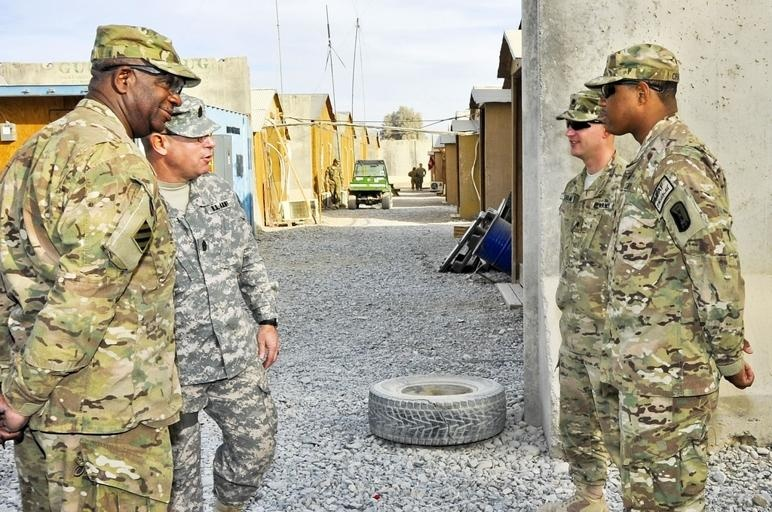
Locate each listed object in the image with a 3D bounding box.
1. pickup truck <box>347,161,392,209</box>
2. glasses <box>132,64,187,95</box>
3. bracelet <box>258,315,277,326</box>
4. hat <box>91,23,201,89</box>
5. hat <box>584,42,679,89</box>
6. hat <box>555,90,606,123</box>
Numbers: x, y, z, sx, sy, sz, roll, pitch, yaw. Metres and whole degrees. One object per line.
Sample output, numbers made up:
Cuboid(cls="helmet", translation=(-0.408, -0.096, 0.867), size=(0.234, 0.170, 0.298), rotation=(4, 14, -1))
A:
Cuboid(cls="pickup truck", translation=(-0.596, -2.458, 28.244), size=(1.475, 1.671, 1.889), rotation=(-2, 9, -3))
Cuboid(cls="glasses", translation=(-0.955, -0.719, 3.358), size=(0.154, 0.042, 0.119), rotation=(28, 6, 2))
Cuboid(cls="bracelet", translation=(-0.641, 0.354, 4.379), size=(0.062, 0.031, 0.057), rotation=(-2, 3, 2))
Cuboid(cls="hat", translation=(-1.025, -0.846, 3.413), size=(0.440, 0.210, 0.311), rotation=(2, -2, -24))
Cuboid(cls="hat", translation=(1.135, -0.836, 3.651), size=(0.426, 0.199, 0.331), rotation=(4, 1, 8))
Cuboid(cls="hat", translation=(1.136, -0.867, 4.618), size=(0.349, 0.165, 0.245), rotation=(-6, 16, -21))
